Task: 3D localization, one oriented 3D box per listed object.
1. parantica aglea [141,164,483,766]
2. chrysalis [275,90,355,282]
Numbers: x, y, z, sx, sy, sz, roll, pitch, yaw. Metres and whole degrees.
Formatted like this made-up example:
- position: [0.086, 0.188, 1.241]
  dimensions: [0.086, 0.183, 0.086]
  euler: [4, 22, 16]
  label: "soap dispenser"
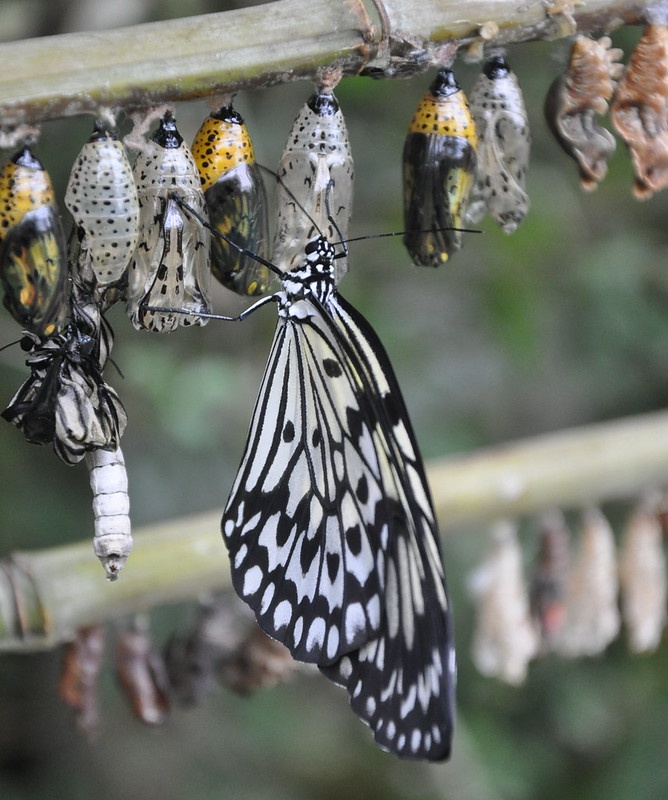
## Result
- position: [-0.020, 0.043, 1.216]
  dimensions: [0.397, 0.651, 0.286]
  euler: [-3, 22, -4]
  label: "parantica aglea"
- position: [-0.022, -0.248, 1.230]
  dimensions: [0.124, 0.187, 0.184]
  euler: [-5, 20, 0]
  label: "chrysalis"
